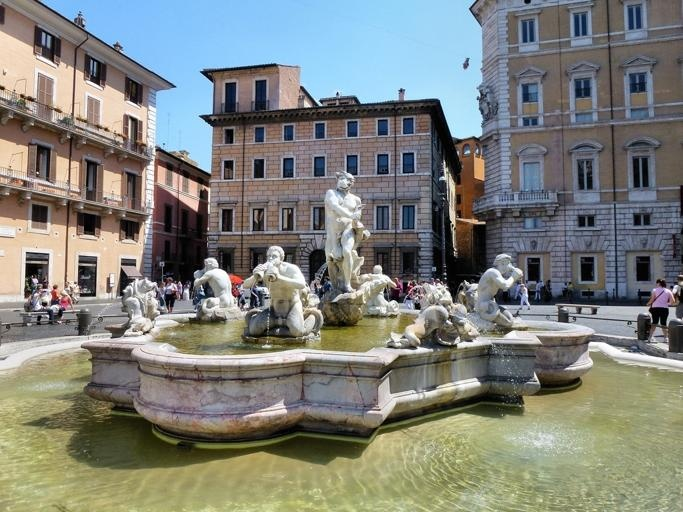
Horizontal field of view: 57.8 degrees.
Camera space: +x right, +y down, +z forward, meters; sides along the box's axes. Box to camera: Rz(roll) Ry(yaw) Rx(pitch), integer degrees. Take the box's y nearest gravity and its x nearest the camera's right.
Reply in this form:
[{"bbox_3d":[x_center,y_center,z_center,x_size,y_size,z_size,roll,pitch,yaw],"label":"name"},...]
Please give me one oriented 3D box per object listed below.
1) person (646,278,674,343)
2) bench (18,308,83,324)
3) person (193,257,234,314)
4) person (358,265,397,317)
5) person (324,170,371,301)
[{"bbox_3d":[8.551,1.405,16.486,0.664,1.611,3.674,-3,-3,28],"label":"person"},{"bbox_3d":[-9.998,2.039,20.912,1.620,0.432,3.768,-1,-3,-26],"label":"bench"},{"bbox_3d":[-3.048,0.754,14.662,0.721,1.419,1.007,-3,-3,15],"label":"person"},{"bbox_3d":[0.938,0.934,15.612,1.332,1.577,1.081,1,8,5],"label":"person"},{"bbox_3d":[0.055,-0.628,14.871,0.948,2.989,0.908,-2,-2,-1],"label":"person"}]
